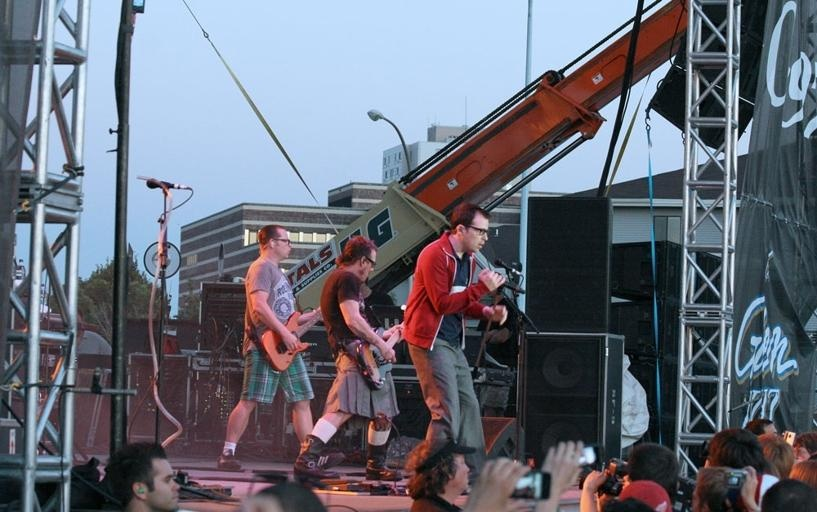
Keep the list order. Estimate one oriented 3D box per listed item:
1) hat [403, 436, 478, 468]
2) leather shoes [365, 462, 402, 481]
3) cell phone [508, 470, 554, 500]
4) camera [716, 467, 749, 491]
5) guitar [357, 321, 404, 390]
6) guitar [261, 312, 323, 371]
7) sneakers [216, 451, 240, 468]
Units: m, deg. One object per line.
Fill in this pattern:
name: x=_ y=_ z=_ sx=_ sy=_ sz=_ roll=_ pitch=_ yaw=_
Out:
hat: x=0.237 y=1.490 z=11.288 sx=0.425 sy=0.123 sz=0.259 roll=-14 pitch=-2 yaw=-9
leather shoes: x=-0.243 y=2.066 z=14.143 sx=0.365 sy=0.206 sz=0.141 roll=-2 pitch=-5 yaw=4
cell phone: x=0.817 y=1.531 z=9.968 sx=0.229 sy=0.123 sz=0.023 roll=-4 pitch=3 yaw=-1
camera: x=2.486 y=1.687 z=11.243 sx=0.185 sy=0.169 sz=0.103 roll=1 pitch=-8 yaw=6
guitar: x=-0.173 y=0.883 z=14.211 sx=0.363 sy=0.097 sz=0.989 roll=-46 pitch=1 yaw=25
guitar: x=-1.187 y=0.869 z=14.857 sx=0.099 sy=0.275 sz=0.725 roll=-21 pitch=11 yaw=36
sneakers: x=-1.735 y=1.981 z=14.320 sx=0.223 sy=0.177 sz=0.198 roll=4 pitch=-13 yaw=-5
